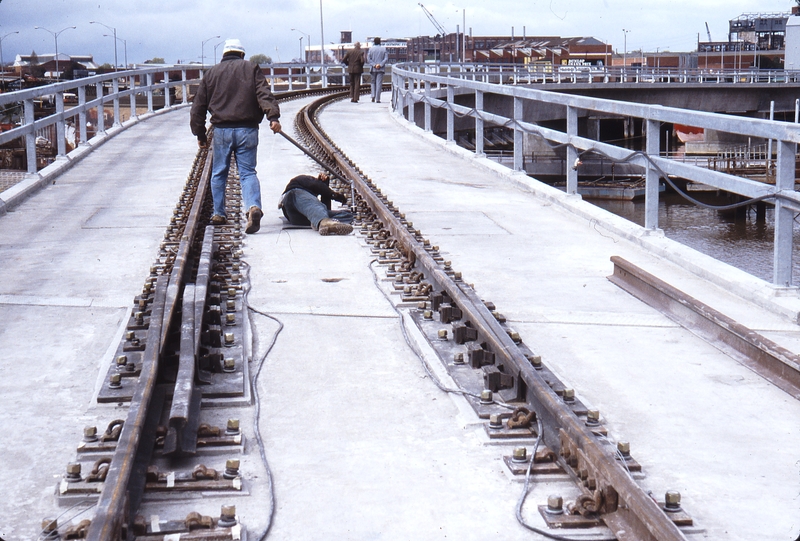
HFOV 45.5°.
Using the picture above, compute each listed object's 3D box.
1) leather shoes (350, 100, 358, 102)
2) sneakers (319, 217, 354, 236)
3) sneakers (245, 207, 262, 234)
[{"bbox_3d":[-1.514,-5.798,32.622,0.282,0.081,0.182,2,-3,21],"label":"leather shoes"},{"bbox_3d":[-0.630,-0.484,10.407,0.459,0.131,0.193,2,21,3],"label":"sneakers"},{"bbox_3d":[-1.589,-0.533,10.408,0.141,0.342,0.138,-3,49,-17],"label":"sneakers"}]
